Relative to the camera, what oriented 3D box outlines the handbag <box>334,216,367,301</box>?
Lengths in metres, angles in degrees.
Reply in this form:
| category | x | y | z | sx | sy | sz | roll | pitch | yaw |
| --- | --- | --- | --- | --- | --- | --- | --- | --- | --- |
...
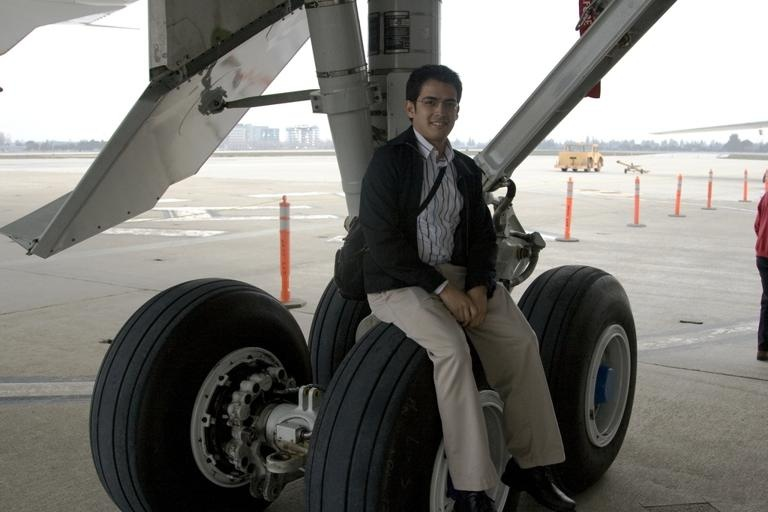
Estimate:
| category | x | y | z | sx | sy | sz | roll | pitch | yaw |
| --- | --- | --- | --- | --- | --- | --- | --- | --- | --- |
| handbag | -0.168 | 0.016 | 3.187 | 0.142 | 0.398 | 0.295 | 1 | 0 | 7 |
